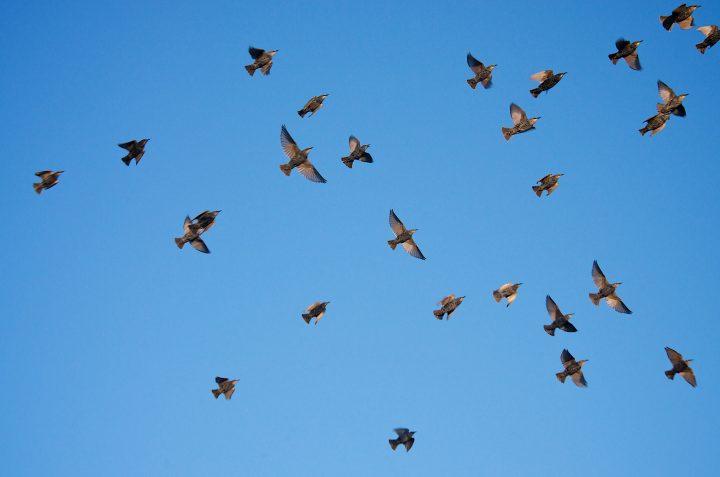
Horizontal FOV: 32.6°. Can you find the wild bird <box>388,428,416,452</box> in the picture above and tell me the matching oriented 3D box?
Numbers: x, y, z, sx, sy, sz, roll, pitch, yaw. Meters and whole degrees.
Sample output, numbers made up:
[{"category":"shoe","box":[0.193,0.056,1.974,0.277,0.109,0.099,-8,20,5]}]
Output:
[{"category":"wild bird","box":[0.519,2.457,15.590,0.280,0.276,0.264,7,-61,-3]}]

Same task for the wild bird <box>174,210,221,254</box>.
[{"category":"wild bird","box":[-1.748,-0.154,13.139,0.431,0.182,0.458,-35,-93,29]}]

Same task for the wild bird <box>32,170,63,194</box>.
[{"category":"wild bird","box":[-4.069,-0.788,15.845,0.324,0.222,0.220,-20,-63,11]}]
